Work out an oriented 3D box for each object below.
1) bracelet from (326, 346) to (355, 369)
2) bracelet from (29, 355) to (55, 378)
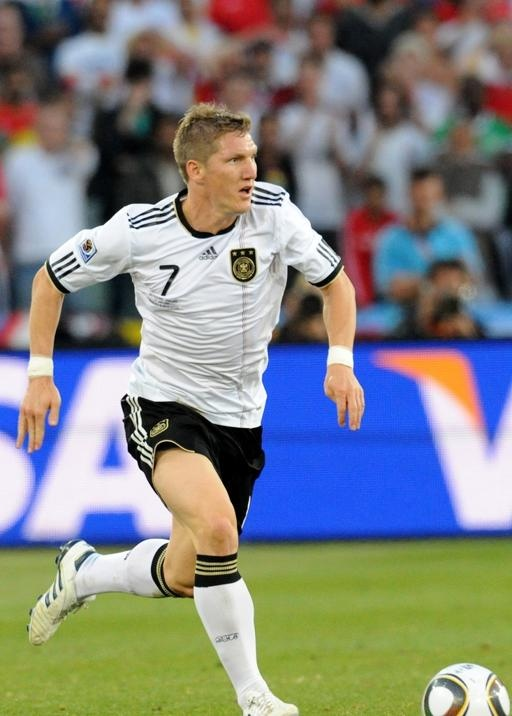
[{"bbox_3d":[0.280,-0.002,3.112,0.082,0.082,0.054,-9,76,41],"label":"bracelet"},{"bbox_3d":[-0.743,0.038,3.232,0.083,0.082,0.073,10,69,-39],"label":"bracelet"}]
